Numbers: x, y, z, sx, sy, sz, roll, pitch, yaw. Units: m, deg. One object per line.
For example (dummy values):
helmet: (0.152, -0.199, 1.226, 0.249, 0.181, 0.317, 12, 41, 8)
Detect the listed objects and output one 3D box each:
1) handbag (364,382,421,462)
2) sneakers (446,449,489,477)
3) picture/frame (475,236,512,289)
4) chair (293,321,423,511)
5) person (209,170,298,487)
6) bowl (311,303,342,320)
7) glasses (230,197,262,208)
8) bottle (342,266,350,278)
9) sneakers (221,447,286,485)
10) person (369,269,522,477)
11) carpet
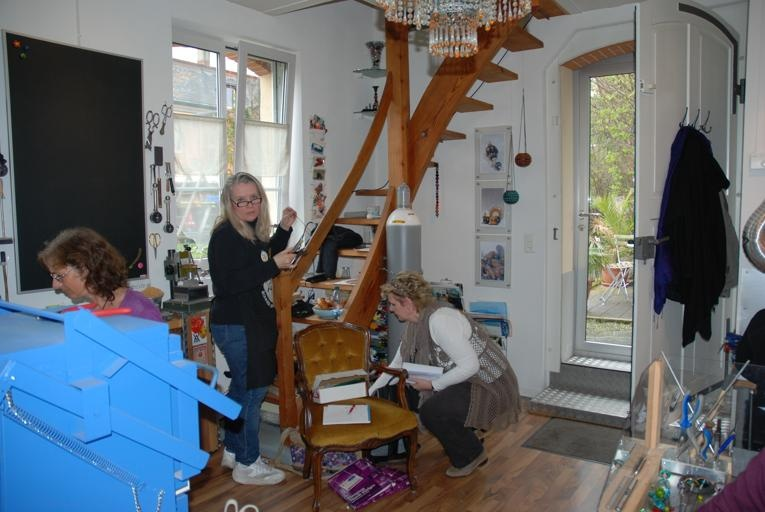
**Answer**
handbag: (0.079, 1.273, 4.265, 0.526, 0.509, 0.474, -5, 12, -27)
sneakers: (0.623, 1.519, 4.017, 0.295, 0.126, 0.133, -4, 2, -33)
picture/frame: (1.136, 0.057, 5.560, 0.523, 0.708, 0.047, 0, 0, 33)
chair: (-0.197, 1.073, 3.859, 0.787, 1.038, 0.744, -3, 15, -15)
person: (-0.894, 0.494, 3.887, 0.545, 2.144, 0.659, 4, 14, 15)
bowl: (-0.433, 0.448, 4.312, 0.214, 0.109, 0.287, -2, 15, -10)
glasses: (-0.912, -0.373, 3.701, 0.212, 0.076, 0.083, -5, 15, -21)
bottle: (-0.403, 0.179, 5.927, 0.105, 0.122, 0.107, 1, 1, -9)
sneakers: (-0.930, 1.507, 3.906, 0.473, 0.218, 0.179, 4, 2, -10)
person: (0.472, 0.849, 4.293, 0.925, 1.435, 1.153, -5, 4, -40)
carpet: (1.575, 1.511, 4.532, 0.698, 0.092, 0.718, 8, 16, 25)
